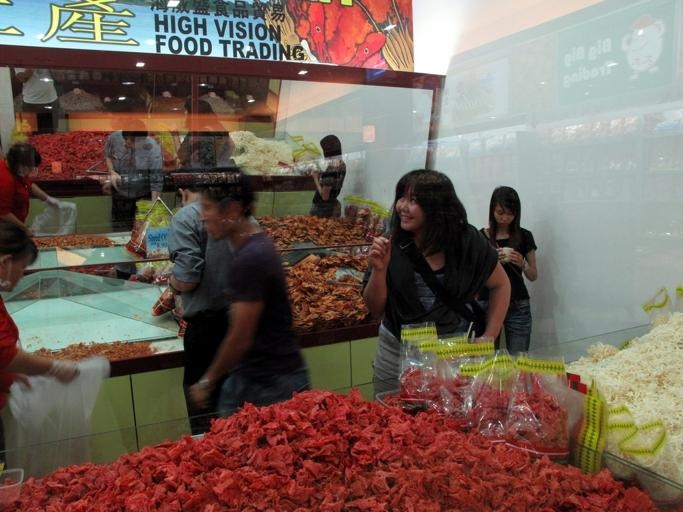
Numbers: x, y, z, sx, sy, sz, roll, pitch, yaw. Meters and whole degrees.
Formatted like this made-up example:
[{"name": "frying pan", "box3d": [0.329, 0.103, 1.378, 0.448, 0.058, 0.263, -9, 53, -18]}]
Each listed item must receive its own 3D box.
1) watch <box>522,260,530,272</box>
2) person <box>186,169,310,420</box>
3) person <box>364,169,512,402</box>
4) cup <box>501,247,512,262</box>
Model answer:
[{"name": "watch", "box3d": [1.083, 0.059, 2.520, 0.020, 0.059, 0.049, -10, -2, -3]}, {"name": "person", "box3d": [-0.370, 0.145, 1.603, 0.455, 0.875, 0.268, 8, 13, 32]}, {"name": "person", "box3d": [0.456, 0.088, 1.989, 0.700, 0.953, 0.259, 1, 11, 0]}, {"name": "cup", "box3d": [0.943, -0.008, 2.458, 0.074, 0.072, 0.067, 2, 2, -6]}]
